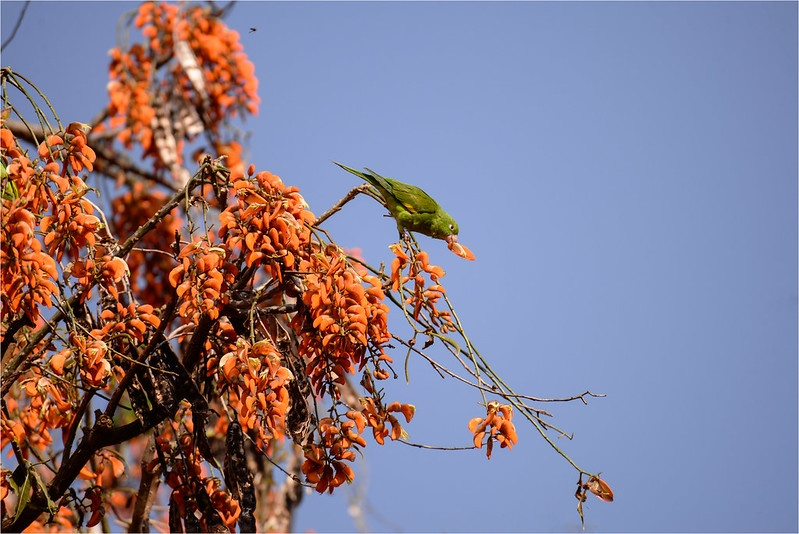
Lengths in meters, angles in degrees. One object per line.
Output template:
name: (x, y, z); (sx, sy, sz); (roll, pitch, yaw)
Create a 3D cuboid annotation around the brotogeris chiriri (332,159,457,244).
brotogeris chiriri: (0.008, -0.232, 5.291); (0.536, 0.147, 0.194); (41, -100, -12)
